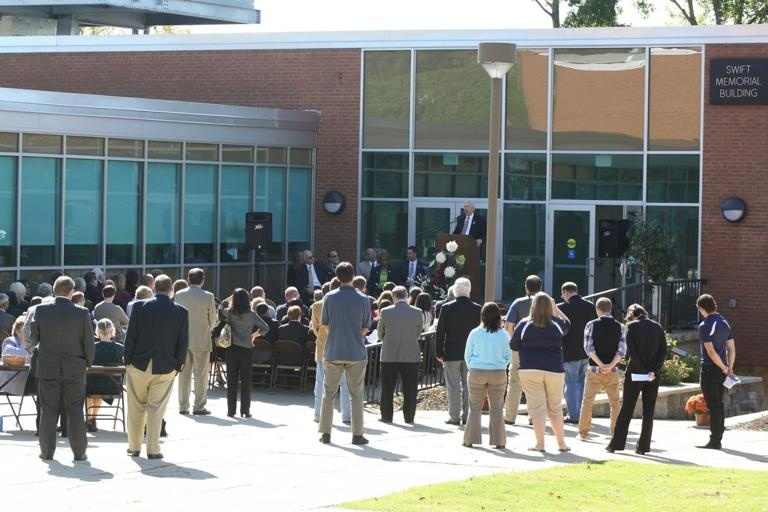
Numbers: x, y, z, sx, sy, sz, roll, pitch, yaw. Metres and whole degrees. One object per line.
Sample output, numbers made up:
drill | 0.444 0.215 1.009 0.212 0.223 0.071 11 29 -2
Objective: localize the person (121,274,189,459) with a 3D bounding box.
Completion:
person | -3.597 1.754 20.371 0.973 2.856 0.356 0 -2 -12

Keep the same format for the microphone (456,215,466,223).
microphone | 1.894 -0.889 30.881 0.164 0.215 0.080 -4 -9 25

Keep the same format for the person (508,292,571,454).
person | 2.601 1.914 21.239 0.959 2.621 0.550 0 -2 0

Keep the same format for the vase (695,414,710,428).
vase | 6.079 3.148 24.465 0.277 0.198 0.274 1 -8 -1

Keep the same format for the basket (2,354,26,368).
basket | -6.159 1.742 21.483 0.368 0.186 0.164 0 -2 -13

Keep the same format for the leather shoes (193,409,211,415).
leather shoes | -3.240 2.795 22.984 0.309 0.127 0.103 -2 -1 -7

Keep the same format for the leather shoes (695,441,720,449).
leather shoes | 5.589 3.238 22.096 0.427 0.137 0.246 -1 -2 13

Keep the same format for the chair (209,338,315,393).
chair | -2.228 2.048 24.305 1.128 0.733 0.400 1 11 15

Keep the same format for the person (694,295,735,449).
person | 5.773 1.992 22.346 0.581 2.647 0.717 -1 -2 15

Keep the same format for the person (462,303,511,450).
person | 1.720 1.978 21.337 0.795 2.420 0.343 0 -1 4

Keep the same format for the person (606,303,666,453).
person | 4.249 2.056 21.461 0.919 2.471 0.579 1 -2 -32

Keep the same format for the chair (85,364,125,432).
chair | -4.724 2.357 21.806 0.807 1.096 0.821 2 13 -14

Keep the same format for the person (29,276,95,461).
person | -5.022 1.759 20.134 0.948 2.848 0.436 0 -2 -15

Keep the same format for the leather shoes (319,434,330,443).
leather shoes | -0.958 3.020 21.296 0.169 0.163 0.107 1 1 8

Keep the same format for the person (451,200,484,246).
person | 2.089 -0.808 30.748 0.705 0.959 1.093 0 -2 -11

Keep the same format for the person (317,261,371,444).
person | -0.646 1.618 21.369 0.833 3.013 0.469 0 -2 -3
